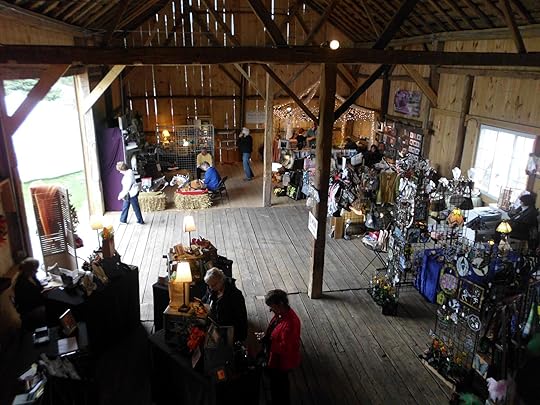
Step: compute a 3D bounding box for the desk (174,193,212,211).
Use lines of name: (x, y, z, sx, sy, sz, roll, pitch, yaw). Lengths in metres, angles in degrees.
desk: (-2.301, -0.036, 11.375, 1.063, 0.489, 0.223, 0, 9, 0)

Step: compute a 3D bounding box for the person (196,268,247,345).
person: (-0.566, 1.366, 5.122, 0.495, 0.921, 1.048, -5, 11, -30)

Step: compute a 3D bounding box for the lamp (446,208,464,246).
lamp: (3.715, 0.495, 7.653, 0.286, 0.822, 0.916, 5, 11, 28)

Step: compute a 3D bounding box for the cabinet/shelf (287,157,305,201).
cabinet/shelf: (0.851, -0.728, 12.340, 0.245, 1.081, 1.044, 5, -2, -25)

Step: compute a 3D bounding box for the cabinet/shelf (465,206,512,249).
cabinet/shelf: (4.374, 0.523, 7.657, 0.992, 0.787, 0.605, 2, -6, -32)

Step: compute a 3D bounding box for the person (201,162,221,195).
person: (-1.925, -0.857, 12.051, 0.474, 0.927, 0.651, 1, 26, 12)

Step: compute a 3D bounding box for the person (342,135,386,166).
person: (3.365, -1.722, 13.556, 1.004, 0.647, 1.645, -8, 22, -18)

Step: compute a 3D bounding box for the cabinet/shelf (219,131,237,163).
cabinet/shelf: (-1.807, -2.343, 16.282, 0.777, 1.366, 0.740, -1, 9, -5)

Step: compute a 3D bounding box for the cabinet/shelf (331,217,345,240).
cabinet/shelf: (1.662, 0.612, 9.305, 0.337, 0.721, 0.364, -3, 15, -9)

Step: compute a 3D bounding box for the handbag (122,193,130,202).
handbag: (-3.792, -0.133, 10.042, 0.112, 0.243, 0.313, -8, 13, -42)

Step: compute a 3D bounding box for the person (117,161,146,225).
person: (-3.678, -0.220, 10.092, 0.652, 1.700, 0.678, -6, 11, -32)

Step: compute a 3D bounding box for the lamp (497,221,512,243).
lamp: (4.249, 0.529, 6.890, 0.201, 0.327, 0.298, 2, 10, 14)

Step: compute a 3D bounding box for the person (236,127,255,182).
person: (-0.887, -1.816, 14.302, 0.531, 1.912, 1.389, 0, 9, -3)

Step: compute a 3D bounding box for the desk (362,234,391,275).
desk: (2.360, 1.016, 8.581, 0.547, 0.800, 1.307, 2, 10, 14)

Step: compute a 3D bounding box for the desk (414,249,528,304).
desk: (3.389, 1.007, 6.544, 0.916, 1.220, 1.685, -1, 5, -23)
